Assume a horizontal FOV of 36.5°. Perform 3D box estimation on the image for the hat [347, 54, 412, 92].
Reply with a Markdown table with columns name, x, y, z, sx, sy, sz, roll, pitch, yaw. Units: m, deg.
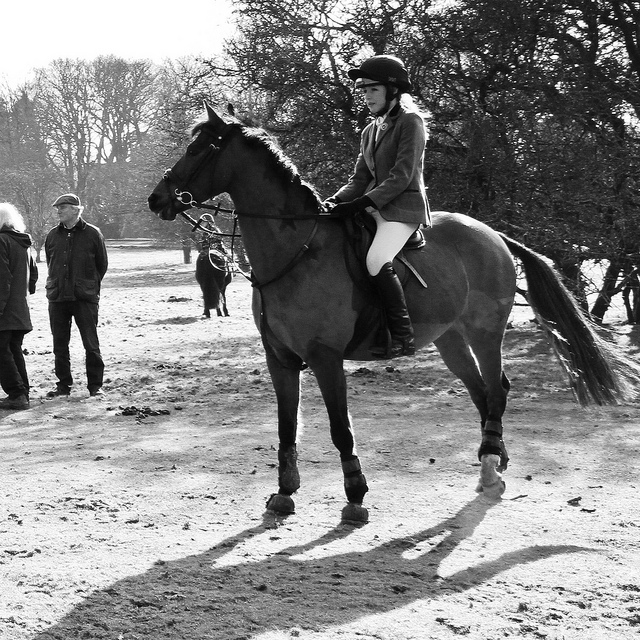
| name | x | y | z | sx | sy | sz | roll | pitch | yaw |
| --- | --- | --- | --- | --- | --- | --- | --- | --- | --- |
| hat | 0.420 | -1.751 | 6.849 | 0.467 | 0.249 | 0.274 | 0 | 10 | -8 |
